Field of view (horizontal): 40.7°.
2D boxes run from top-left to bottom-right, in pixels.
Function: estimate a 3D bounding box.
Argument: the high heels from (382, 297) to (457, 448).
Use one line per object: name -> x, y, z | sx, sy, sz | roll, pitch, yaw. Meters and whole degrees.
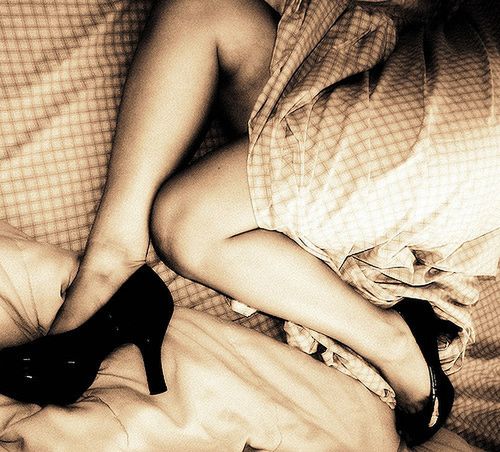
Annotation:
high heels -> 0.339, 0.260, 1.305 | 0.066, 0.126, 0.279 | -13, 93, -40
